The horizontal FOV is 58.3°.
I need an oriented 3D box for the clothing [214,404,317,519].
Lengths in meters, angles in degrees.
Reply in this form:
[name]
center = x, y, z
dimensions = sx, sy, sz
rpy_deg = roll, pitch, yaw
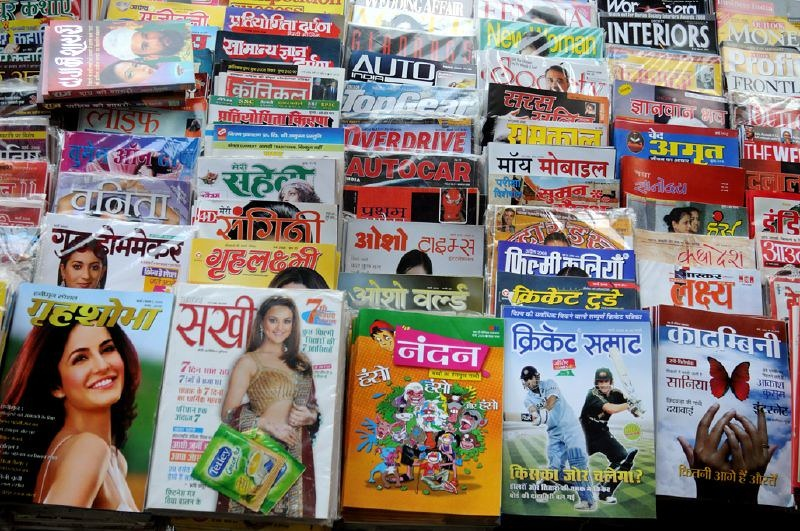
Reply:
[clothing]
center = -0.490, 0.733, 2.707
dimensions = 0.369, 0.399, 0.098
rpy_deg = 2, 0, 2

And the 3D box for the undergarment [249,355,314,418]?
[undergarment]
center = -0.448, 0.476, 2.843
dimensions = 0.282, 0.235, 0.157
rpy_deg = 19, -33, -22
